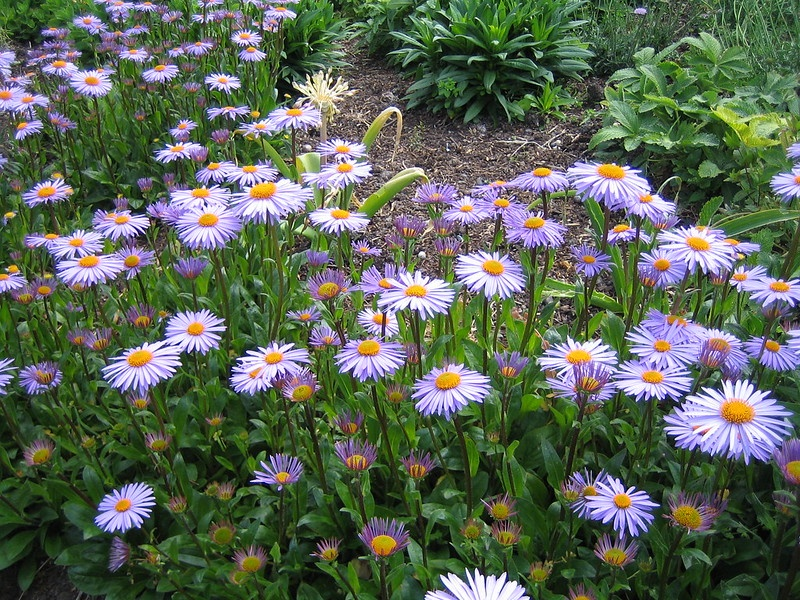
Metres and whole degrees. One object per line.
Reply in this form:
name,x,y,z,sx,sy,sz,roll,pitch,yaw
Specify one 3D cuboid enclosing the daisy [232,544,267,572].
daisy,-0.532,0.923,2.530,0.101,0.053,0.112,13,35,18
